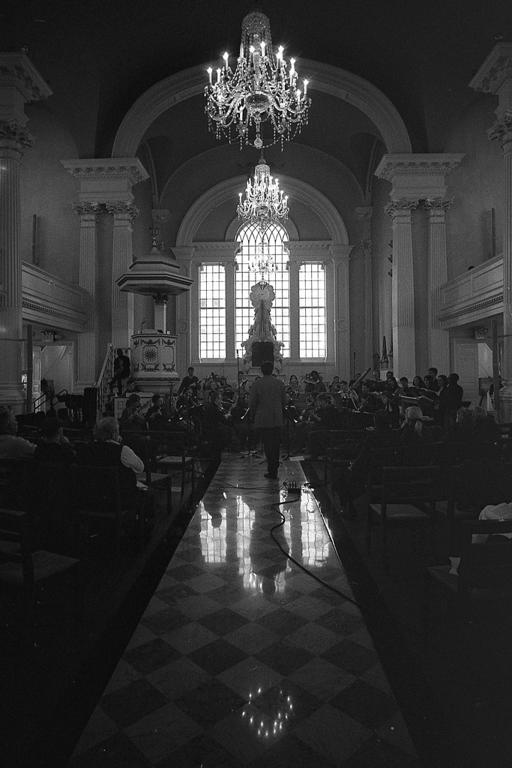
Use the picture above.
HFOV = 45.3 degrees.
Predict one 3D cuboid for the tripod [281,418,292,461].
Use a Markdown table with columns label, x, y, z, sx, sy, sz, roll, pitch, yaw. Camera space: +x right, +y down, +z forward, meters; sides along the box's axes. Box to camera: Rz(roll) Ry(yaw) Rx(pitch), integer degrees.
| label | x | y | z | sx | sy | sz | roll | pitch | yaw |
| --- | --- | --- | --- | --- | --- | --- | --- | --- | --- |
| tripod | 0.574 | 1.075 | 11.835 | 0.327 | 0.711 | 0.436 | 0 | -7 | -1 |
